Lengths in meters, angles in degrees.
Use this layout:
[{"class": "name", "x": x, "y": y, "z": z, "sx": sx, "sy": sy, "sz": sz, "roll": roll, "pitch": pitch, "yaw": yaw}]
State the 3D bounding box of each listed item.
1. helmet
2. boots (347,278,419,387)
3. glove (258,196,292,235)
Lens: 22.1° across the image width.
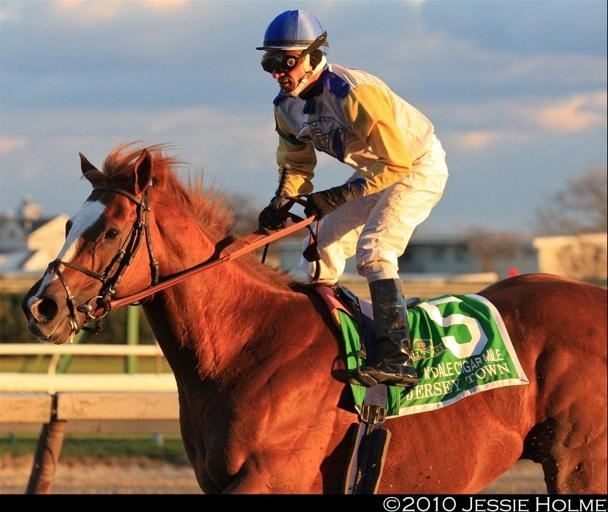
[{"class": "helmet", "x": -0.079, "y": -1.240, "z": 8.442, "sx": 0.444, "sy": 0.225, "sz": 0.335, "roll": -6, "pitch": 10, "yaw": -36}, {"class": "boots", "x": 0.444, "y": 0.411, "z": 8.135, "sx": 0.305, "sy": 0.571, "sz": 0.314, "roll": -1, "pitch": 2, "yaw": 6}, {"class": "glove", "x": -0.181, "y": -0.236, "z": 8.405, "sx": 0.152, "sy": 0.201, "sz": 0.083, "roll": 26, "pitch": -9, "yaw": 45}]
